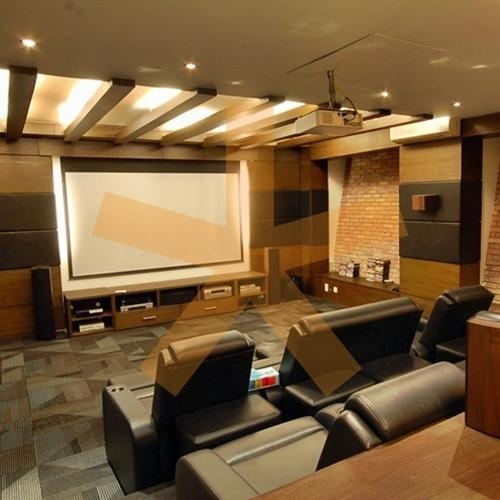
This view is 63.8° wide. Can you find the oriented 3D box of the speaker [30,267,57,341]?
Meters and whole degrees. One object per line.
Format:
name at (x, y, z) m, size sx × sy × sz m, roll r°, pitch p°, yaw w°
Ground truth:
speaker at (-2.724, 0.715, 5.312) m, size 0.225 × 0.964 × 0.177 m, roll -4°, pitch 6°, yaw -20°
